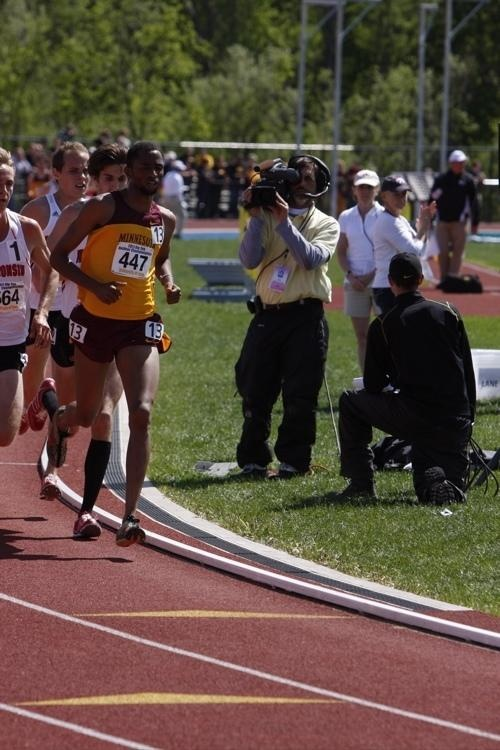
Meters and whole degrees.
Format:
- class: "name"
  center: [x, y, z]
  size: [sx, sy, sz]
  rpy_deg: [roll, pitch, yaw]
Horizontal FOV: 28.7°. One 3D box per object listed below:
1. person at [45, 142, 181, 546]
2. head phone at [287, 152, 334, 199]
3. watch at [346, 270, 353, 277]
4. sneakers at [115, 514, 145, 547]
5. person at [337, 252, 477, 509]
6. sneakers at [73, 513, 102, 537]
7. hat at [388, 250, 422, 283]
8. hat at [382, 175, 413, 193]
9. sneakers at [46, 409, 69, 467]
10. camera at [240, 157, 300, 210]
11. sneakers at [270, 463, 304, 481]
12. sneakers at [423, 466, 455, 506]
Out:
- class: "person"
  center: [-0.641, -0.159, 4.805]
  size: [0.638, 1.939, 1.036]
  rpy_deg: [-2, 10, -9]
- class: "head phone"
  center: [0.391, -1.244, 6.054]
  size: [0.267, 0.278, 0.101]
  rpy_deg: [16, 55, 14]
- class: "watch"
  center: [0.848, -0.863, 8.278]
  size: [0.054, 0.047, 0.013]
  rpy_deg: [6, -5, 37]
- class: "sneakers"
  center: [-0.557, 0.721, 4.503]
  size: [0.123, 0.139, 0.125]
  rpy_deg: [-3, 10, -18]
- class: "person"
  center: [0.879, 0.011, 5.527]
  size: [0.740, 1.361, 0.419]
  rpy_deg: [1, 10, 8]
- class: "sneakers"
  center: [-0.827, 0.756, 4.944]
  size: [0.084, 0.082, 0.184]
  rpy_deg: [9, -23, -21]
- class: "hat"
  center: [0.890, -0.617, 5.579]
  size: [0.159, 0.112, 0.194]
  rpy_deg: [2, 30, 10]
- class: "hat"
  center: [1.131, -1.464, 7.534]
  size: [0.185, 0.112, 0.236]
  rpy_deg: [-6, 15, -29]
- class: "sneakers"
  center: [-1.084, 0.368, 5.457]
  size: [0.137, 0.343, 0.149]
  rpy_deg: [-2, 14, -14]
- class: "camera"
  center: [0.131, -1.145, 5.828]
  size: [0.307, 0.199, 0.388]
  rpy_deg: [-3, 25, 3]
- class: "sneakers"
  center: [0.230, 0.611, 6.231]
  size: [0.267, 0.095, 0.082]
  rpy_deg: [-2, 8, -1]
- class: "sneakers"
  center: [1.056, 0.622, 5.429]
  size: [0.108, 0.245, 0.120]
  rpy_deg: [-7, 0, 3]
